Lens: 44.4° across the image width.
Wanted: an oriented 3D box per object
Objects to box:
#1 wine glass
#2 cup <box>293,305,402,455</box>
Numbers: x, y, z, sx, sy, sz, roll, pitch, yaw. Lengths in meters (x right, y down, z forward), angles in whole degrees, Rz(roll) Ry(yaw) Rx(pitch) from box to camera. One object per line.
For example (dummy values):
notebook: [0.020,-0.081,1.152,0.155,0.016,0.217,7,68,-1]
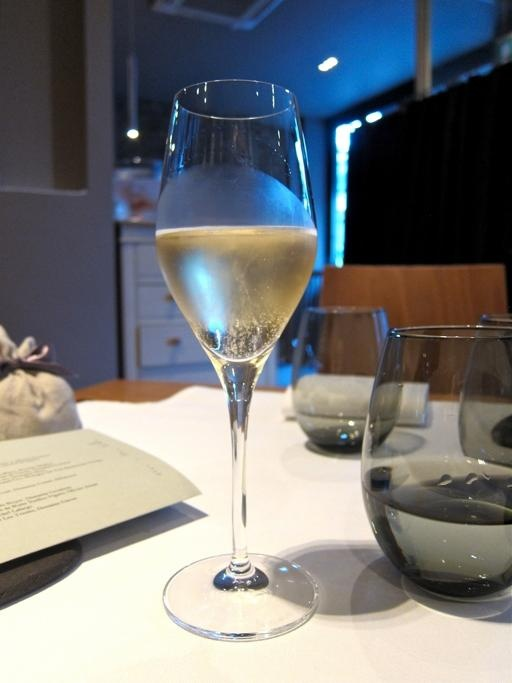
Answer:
wine glass: [-0.011,-0.001,0.305,0.083,0.254,0.102,0,7,4]
cup: [0.066,0.037,0.566,0.105,0.158,0.112,3,-7,0]
